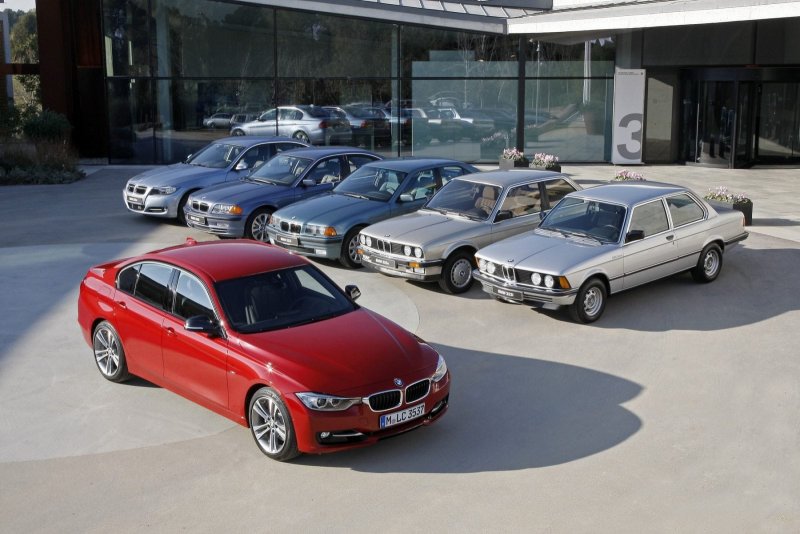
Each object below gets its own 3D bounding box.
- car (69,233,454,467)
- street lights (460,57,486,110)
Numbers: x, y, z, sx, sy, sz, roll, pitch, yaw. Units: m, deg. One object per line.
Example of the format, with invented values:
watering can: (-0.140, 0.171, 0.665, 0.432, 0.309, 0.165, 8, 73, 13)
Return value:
car: (-1.757, 0.892, 6.895, 4.553, 2.013, 1.649, 5, 17, 29)
street lights: (3.575, -9.225, 27.572, 0.868, 2.335, 0.254, -5, 14, -7)
